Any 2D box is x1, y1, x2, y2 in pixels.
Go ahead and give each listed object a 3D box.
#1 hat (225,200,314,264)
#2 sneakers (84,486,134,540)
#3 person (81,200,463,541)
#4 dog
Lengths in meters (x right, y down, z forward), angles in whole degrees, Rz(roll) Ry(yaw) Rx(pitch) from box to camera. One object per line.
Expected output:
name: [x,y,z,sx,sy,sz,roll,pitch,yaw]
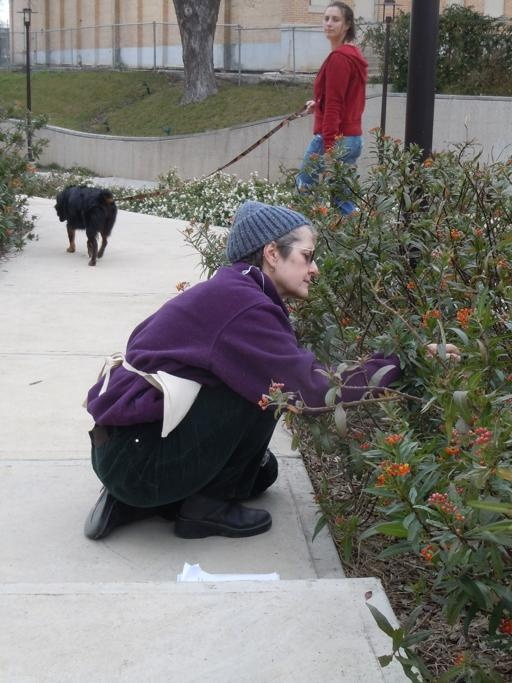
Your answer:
hat: [0.040,-0.381,2.592,0.280,0.153,0.186,-15,13,7]
sneakers: [-0.520,0.598,2.695,0.093,0.154,0.229,8,17,16]
person: [0.018,0.118,2.632,1.361,1.102,0.755,-3,7,22]
dog: [-1.797,-1.256,8.174,0.419,0.750,1.380,-9,17,-32]
